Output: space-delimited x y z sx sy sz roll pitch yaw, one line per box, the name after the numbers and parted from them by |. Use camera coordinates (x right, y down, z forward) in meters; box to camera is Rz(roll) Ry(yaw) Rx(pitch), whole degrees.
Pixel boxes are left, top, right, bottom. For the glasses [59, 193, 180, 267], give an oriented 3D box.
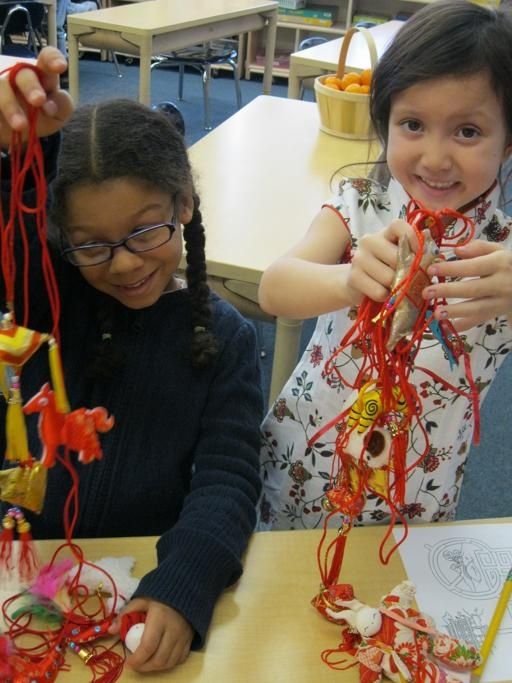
-0.154 -0.121 0.687 0.126 0.072 0.061 0 12 -11 | glasses

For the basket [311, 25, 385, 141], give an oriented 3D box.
0.300 -0.798 1.805 0.236 0.284 0.227 6 36 7 | basket

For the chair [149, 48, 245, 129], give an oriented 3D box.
-0.462 -1.874 4.296 0.666 0.423 0.563 29 45 34 | chair
